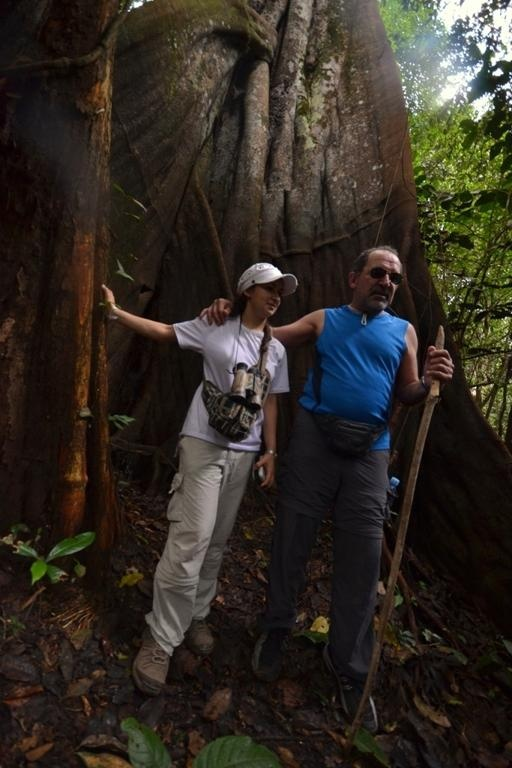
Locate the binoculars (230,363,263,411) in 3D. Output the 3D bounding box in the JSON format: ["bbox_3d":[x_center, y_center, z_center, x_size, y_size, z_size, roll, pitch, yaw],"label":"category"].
[{"bbox_3d":[-0.055,0.006,2.444,0.061,0.162,0.175,-20,-27,40],"label":"binoculars"}]

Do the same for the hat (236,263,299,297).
[{"bbox_3d":[0.053,-0.462,2.593,0.216,0.118,0.161,-16,-10,28],"label":"hat"}]

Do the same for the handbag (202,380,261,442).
[{"bbox_3d":[-0.078,0.068,2.489,0.240,0.165,0.307,27,31,-11],"label":"handbag"}]

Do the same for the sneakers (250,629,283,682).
[{"bbox_3d":[0.053,1.136,2.464,0.097,0.109,0.240,26,32,-13],"label":"sneakers"}]

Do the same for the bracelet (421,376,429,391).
[{"bbox_3d":[0.694,-0.006,2.416,0.017,0.055,0.041,-6,13,-10],"label":"bracelet"}]

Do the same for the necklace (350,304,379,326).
[{"bbox_3d":[0.488,-0.309,2.604,0.070,0.090,0.027,3,42,-2],"label":"necklace"}]

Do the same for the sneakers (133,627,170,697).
[{"bbox_3d":[-0.415,1.081,2.326,0.117,0.136,0.321,41,-3,-16],"label":"sneakers"}]

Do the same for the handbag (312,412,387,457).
[{"bbox_3d":[0.373,0.217,2.432,0.193,0.195,0.067,2,18,32],"label":"handbag"}]

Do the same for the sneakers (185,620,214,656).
[{"bbox_3d":[-0.239,1.075,2.525,0.086,0.076,0.158,20,2,-34],"label":"sneakers"}]

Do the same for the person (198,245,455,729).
[{"bbox_3d":[0.363,0.341,2.456,0.581,1.866,0.821,11,9,-2],"label":"person"}]
